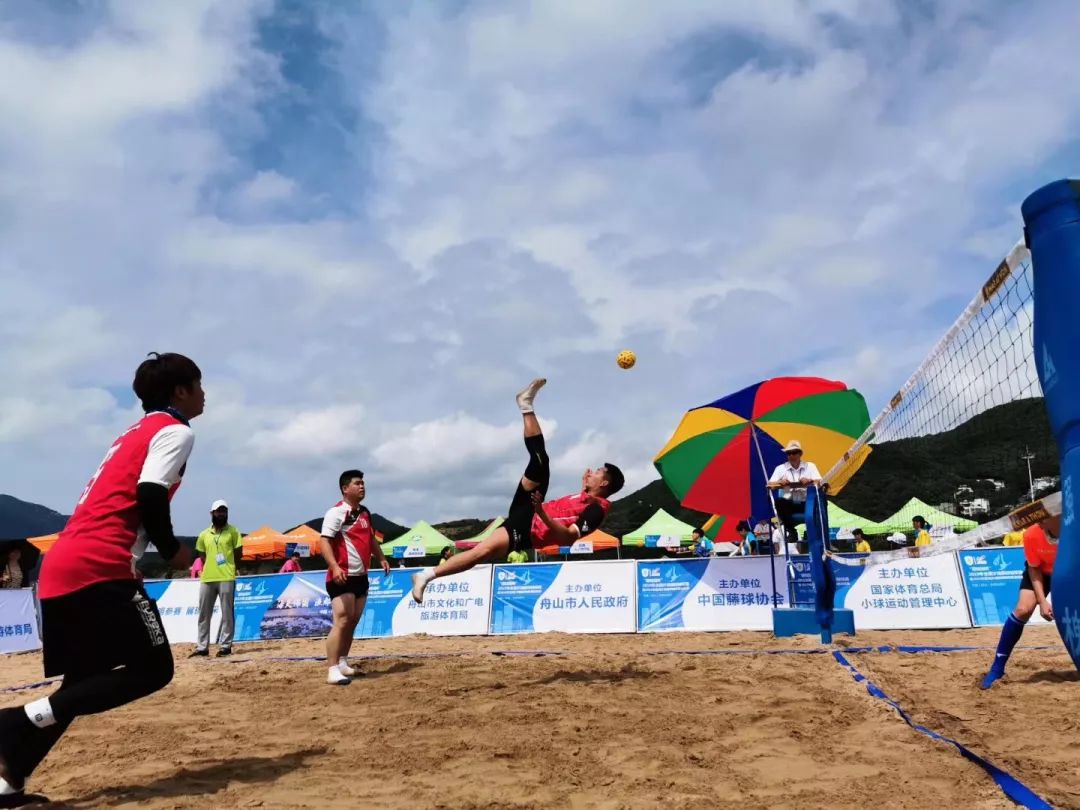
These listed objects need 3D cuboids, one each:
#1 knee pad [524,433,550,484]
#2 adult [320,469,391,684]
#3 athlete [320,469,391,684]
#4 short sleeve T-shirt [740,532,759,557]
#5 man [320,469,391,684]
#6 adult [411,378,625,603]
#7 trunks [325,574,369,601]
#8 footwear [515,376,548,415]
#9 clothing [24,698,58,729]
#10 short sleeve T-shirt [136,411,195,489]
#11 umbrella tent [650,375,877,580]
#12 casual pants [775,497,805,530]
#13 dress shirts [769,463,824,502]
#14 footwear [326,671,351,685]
[{"bbox_3d":[-0.030,0.421,6.786,0.170,0.399,0.418,-2,-7,-2],"label":"knee pad"},{"bbox_3d":[-1.775,1.511,7.617,0.403,1.820,0.753,-1,-7,-5],"label":"adult"},{"bbox_3d":[-1.775,1.512,7.622,0.403,1.820,0.762,-1,-7,-5],"label":"athlete"},{"bbox_3d":[3.711,2.450,14.931,0.392,0.567,0.735,0,-8,6],"label":"short sleeve T-shirt"},{"bbox_3d":[-1.775,1.511,7.618,0.403,1.820,0.753,-1,-7,-5],"label":"man"},{"bbox_3d":[-0.103,0.598,7.093,1.652,1.600,0.761,-1,-7,-8],"label":"adult"},{"bbox_3d":[-1.767,1.650,7.672,0.249,0.240,0.357,-17,-22,40],"label":"trunks"},{"bbox_3d":[-0.001,-0.054,7.030,0.302,0.122,0.266,-42,-9,23],"label":"footwear"},{"bbox_3d":[-2.677,1.637,4.556,0.170,0.145,0.151,-5,-3,9],"label":"clothing"},{"bbox_3d":[-2.067,0.257,4.616,0.208,0.385,0.395,33,-23,-17],"label":"short sleeve T-shirt"},{"bbox_3d":[3.542,0.671,13.313,3.008,2.819,1.796,-20,-41,23],"label":"umbrella tent"},{"bbox_3d":[2.863,1.197,9.659,0.385,0.383,0.120,-21,-5,21],"label":"casual pants"},{"bbox_3d":[2.885,0.875,9.518,0.590,0.390,0.638,-1,32,18],"label":"dress shirts"},{"bbox_3d":[-1.729,2.305,7.260,0.184,0.130,0.256,0,-7,-17],"label":"footwear"}]
